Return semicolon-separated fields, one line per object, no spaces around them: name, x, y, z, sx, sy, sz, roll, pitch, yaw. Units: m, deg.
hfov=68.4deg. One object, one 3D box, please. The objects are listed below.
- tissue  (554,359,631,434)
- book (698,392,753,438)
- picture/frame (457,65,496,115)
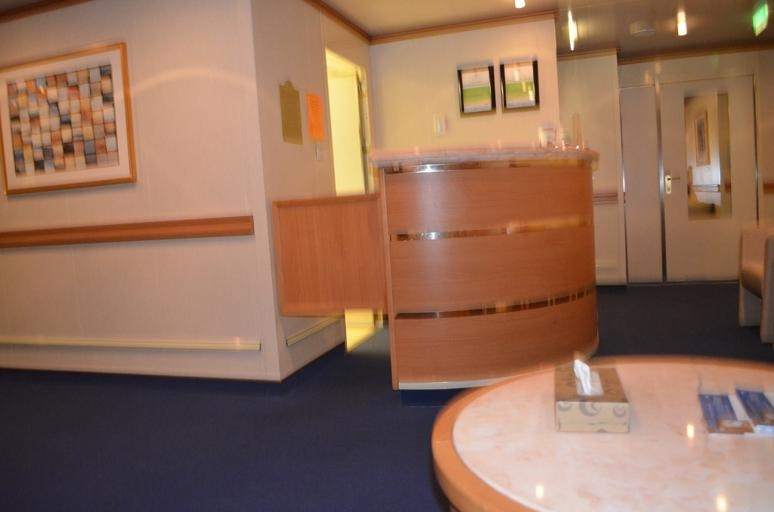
tissue ;0.872;0.560;2.443;0.268;0.087;0.382;0;13;12
book;1.406;0.628;2.370;0.127;0.036;0.140;-7;36;7
picture/frame;1.030;-1.903;6.484;0.566;0.643;0.049;1;9;13
